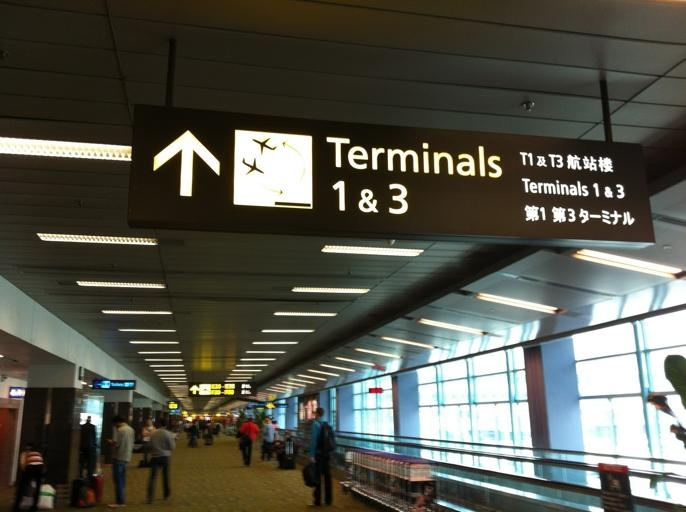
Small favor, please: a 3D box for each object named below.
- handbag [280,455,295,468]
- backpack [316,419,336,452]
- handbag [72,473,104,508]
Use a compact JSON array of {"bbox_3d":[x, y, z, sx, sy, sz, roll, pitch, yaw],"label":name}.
[{"bbox_3d":[-1.804,6.676,18.602,0.271,0.313,0.479,5,-14,-13],"label":"handbag"},{"bbox_3d":[-0.313,3.544,11.162,0.240,0.605,0.412,-19,-27,38],"label":"backpack"},{"bbox_3d":[-5.523,5.029,12.314,0.630,0.636,0.636,-11,-21,21],"label":"handbag"}]
